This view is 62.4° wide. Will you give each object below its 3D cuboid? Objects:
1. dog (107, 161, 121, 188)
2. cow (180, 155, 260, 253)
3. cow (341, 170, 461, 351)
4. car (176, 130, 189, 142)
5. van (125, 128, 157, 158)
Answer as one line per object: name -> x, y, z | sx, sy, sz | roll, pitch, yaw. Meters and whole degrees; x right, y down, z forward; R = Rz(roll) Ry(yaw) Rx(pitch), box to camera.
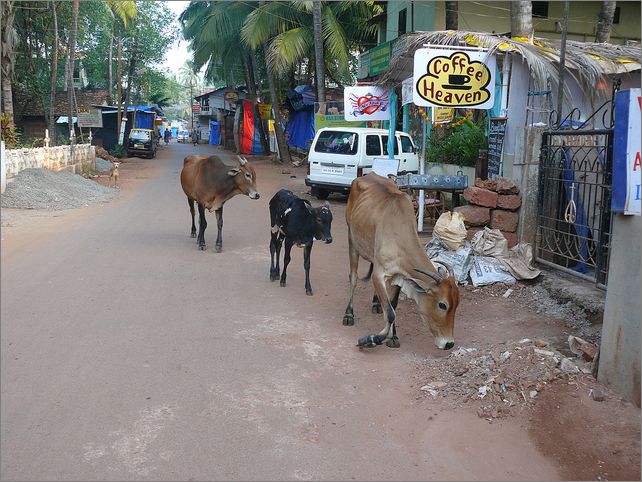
dog -> -7.399, -2.360, 18.849 | 0.330, 0.829, 1.306 | -3, 14, -22
cow -> -2.179, -0.794, 10.773 | 0.861, 1.990, 2.644 | -6, 16, -42
cow -> 0.837, 0.287, 6.539 | 0.888, 1.774, 2.193 | -1, 13, -17
car -> -20.654, -15.625, 78.595 | 1.862, 2.106, 4.355 | -1, 4, -12
van -> -11.134, -5.929, 32.551 | 1.546, 1.692, 1.810 | -2, 13, -21
